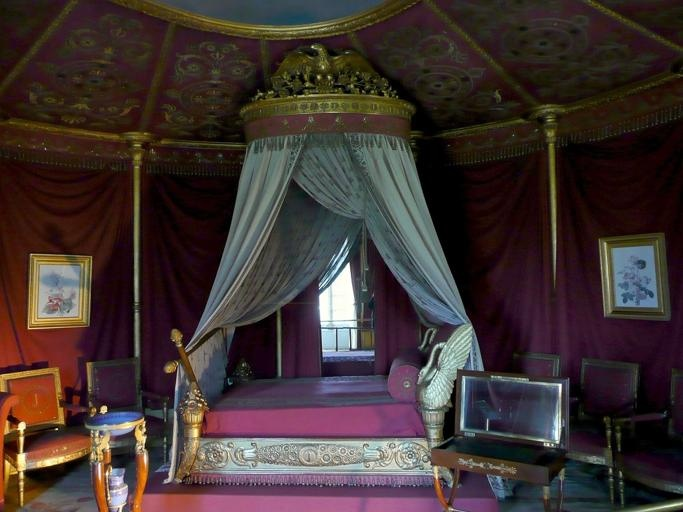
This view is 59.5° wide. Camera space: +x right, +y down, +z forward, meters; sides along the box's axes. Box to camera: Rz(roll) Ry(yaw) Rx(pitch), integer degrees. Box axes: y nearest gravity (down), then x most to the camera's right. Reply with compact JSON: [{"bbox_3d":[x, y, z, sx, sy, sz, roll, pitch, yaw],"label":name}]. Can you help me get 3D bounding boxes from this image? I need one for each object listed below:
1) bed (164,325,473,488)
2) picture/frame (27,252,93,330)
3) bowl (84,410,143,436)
[{"bbox_3d":[-0.195,1.244,5.368,2.012,0.947,1.364,0,-5,2],"label":"bed"},{"bbox_3d":[-3.067,0.390,6.439,0.073,1.057,0.799,-2,-4,42],"label":"picture/frame"},{"bbox_3d":[-1.519,1.104,4.032,0.296,0.094,0.297,0,-2,0],"label":"bowl"}]
